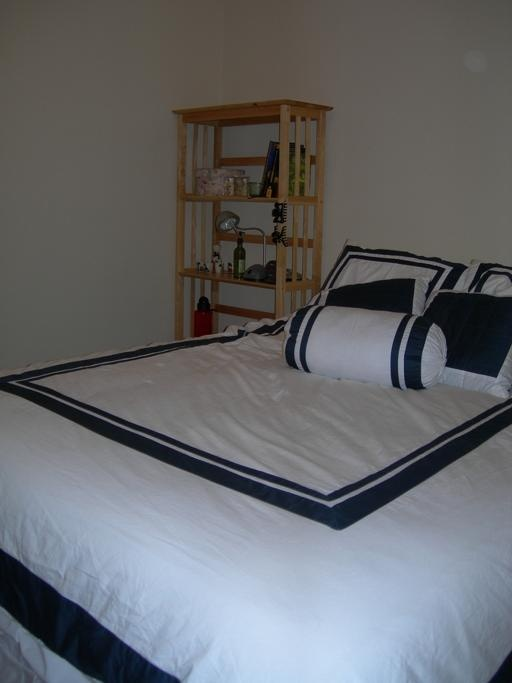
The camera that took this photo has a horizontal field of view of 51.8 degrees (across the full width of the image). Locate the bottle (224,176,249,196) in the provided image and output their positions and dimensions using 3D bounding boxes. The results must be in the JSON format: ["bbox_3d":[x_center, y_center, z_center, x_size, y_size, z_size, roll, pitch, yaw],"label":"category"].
[{"bbox_3d":[-0.114,-0.887,3.008,0.135,0.126,0.166,1,12,-3],"label":"bottle"}]

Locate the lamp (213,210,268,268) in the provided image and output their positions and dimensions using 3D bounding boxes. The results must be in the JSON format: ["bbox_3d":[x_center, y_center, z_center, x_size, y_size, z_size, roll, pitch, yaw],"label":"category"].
[{"bbox_3d":[-0.096,-0.655,3.347,0.309,0.310,0.404,1,12,-4],"label":"lamp"}]

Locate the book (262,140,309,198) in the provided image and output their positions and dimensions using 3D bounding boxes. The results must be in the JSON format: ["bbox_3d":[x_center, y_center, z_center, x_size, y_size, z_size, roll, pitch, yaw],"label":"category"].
[{"bbox_3d":[0.144,-0.910,2.792,0.248,0.289,0.223,2,12,3],"label":"book"}]

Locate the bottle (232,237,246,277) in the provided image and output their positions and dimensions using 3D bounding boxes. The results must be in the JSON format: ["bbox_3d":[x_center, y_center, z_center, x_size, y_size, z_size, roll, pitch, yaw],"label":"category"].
[{"bbox_3d":[-0.098,-0.492,3.096,0.063,0.239,0.167,0,12,-5],"label":"bottle"}]
